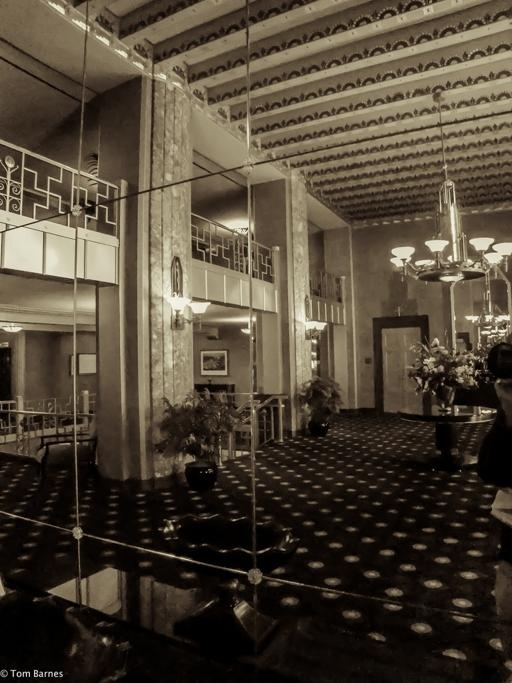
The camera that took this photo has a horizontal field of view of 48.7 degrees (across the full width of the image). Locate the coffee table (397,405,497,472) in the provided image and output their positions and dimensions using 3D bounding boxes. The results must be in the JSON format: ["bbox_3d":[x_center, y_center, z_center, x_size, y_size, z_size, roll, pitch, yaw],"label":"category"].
[{"bbox_3d":[2.201,1.081,6.461,0.966,0.669,1.031,0,0,19],"label":"coffee table"}]

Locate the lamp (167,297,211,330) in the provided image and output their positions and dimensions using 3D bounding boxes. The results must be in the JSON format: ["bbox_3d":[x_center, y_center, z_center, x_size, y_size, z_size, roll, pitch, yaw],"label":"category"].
[{"bbox_3d":[-0.756,-0.308,6.081,0.267,0.365,0.528,-3,0,18],"label":"lamp"}]

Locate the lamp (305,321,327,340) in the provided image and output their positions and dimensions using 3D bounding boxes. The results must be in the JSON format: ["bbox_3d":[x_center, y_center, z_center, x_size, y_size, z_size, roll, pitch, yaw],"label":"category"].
[{"bbox_3d":[1.085,-0.182,9.763,0.449,0.192,0.360,6,-10,-34],"label":"lamp"}]

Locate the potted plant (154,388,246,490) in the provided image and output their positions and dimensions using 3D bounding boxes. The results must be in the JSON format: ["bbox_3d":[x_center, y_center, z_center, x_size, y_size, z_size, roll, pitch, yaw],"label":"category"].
[{"bbox_3d":[-0.587,0.991,5.708,0.836,0.948,0.564,-2,-2,-2],"label":"potted plant"}]

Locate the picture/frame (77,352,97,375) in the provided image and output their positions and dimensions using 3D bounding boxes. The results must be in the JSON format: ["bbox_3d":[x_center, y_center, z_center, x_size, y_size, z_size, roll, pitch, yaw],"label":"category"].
[{"bbox_3d":[-4.274,0.593,14.069,0.178,0.543,0.773,-3,-2,17],"label":"picture/frame"}]

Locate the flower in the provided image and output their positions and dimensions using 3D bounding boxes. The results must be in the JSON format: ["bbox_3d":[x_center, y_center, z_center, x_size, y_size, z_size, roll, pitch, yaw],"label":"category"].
[{"bbox_3d":[2.196,0.272,6.668,0.671,0.546,0.707,-7,-6,21],"label":"flower"}]

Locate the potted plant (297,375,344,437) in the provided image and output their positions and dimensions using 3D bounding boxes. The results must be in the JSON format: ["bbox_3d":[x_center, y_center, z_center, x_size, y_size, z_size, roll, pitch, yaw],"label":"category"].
[{"bbox_3d":[1.100,1.000,9.333,0.766,1.174,0.845,1,2,-20],"label":"potted plant"}]
